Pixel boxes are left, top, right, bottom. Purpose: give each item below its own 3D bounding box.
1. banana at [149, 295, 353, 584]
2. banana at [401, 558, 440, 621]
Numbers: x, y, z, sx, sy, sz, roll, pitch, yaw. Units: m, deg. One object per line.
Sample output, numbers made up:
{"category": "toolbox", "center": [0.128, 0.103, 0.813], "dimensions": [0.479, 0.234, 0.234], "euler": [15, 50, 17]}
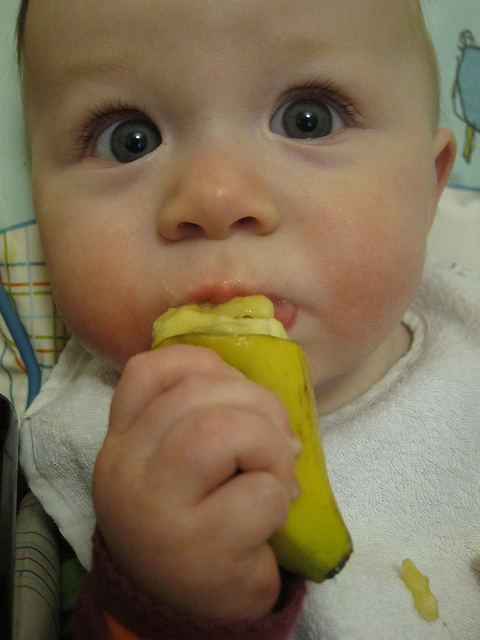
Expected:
{"category": "banana", "center": [0.077, 0.106, 0.836], "dimensions": [0.213, 0.375, 0.144], "euler": [-23, -6, 35]}
{"category": "banana", "center": [0.255, 0.377, 0.933], "dimensions": [0.045, 0.025, 0.105], "euler": [-11, 33, -4]}
